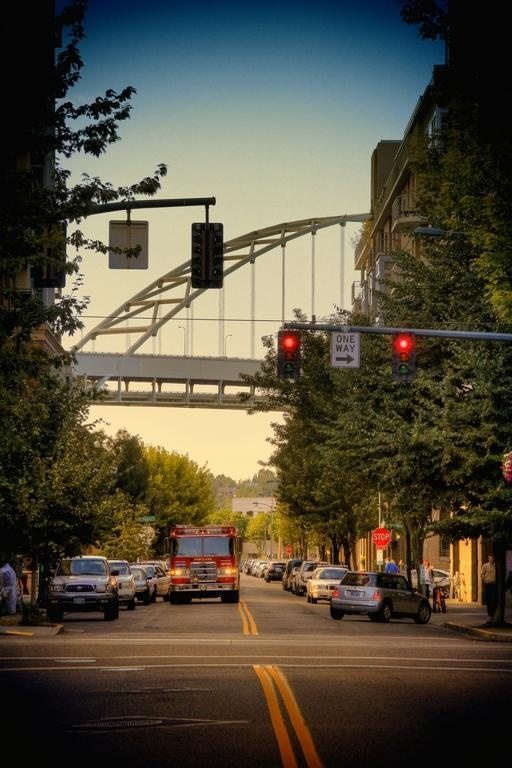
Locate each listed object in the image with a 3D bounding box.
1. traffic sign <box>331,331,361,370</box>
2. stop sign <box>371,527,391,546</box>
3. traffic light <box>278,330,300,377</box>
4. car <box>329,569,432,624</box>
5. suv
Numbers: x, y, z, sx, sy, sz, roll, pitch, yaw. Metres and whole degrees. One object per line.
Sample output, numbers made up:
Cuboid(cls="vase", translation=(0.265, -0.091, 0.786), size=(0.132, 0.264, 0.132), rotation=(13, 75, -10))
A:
Cuboid(cls="traffic sign", translation=(1.362, -0.569, 21.799), size=(0.435, 0.634, 0.767), rotation=(0, -6, 2))
Cuboid(cls="stop sign", translation=(4.233, 5.147, 47.639), size=(0.512, 0.597, 1.224), rotation=(-1, -7, 10))
Cuboid(cls="traffic light", translation=(0.477, -0.494, 21.062), size=(0.327, 0.764, 0.639), rotation=(0, -6, -1))
Cuboid(cls="car", translation=(2.865, 4.892, 32.127), size=(2.118, 1.188, 1.326), rotation=(3, -7, -28))
Cuboid(cls="suv", translation=(-3.848, 4.506, 30.770), size=(1.352, 1.378, 1.916), rotation=(-1, -6, 5))
